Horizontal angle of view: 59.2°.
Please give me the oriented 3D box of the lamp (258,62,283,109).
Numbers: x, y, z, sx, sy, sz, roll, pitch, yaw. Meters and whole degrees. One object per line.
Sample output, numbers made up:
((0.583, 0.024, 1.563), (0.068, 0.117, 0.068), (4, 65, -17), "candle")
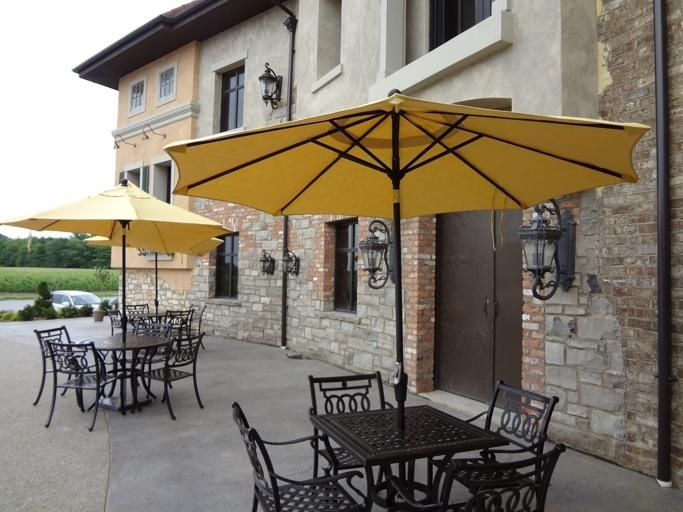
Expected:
((-1.556, -3.696, 12.918), (0.468, 0.938, 0.327), (12, 14, 40), "lamp")

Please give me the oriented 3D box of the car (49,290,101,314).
((-8.773, 1.447, 20.132), (2.031, 0.875, 1.010), (-4, -3, 25), "car")

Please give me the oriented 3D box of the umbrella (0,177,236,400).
((-3.004, 0.351, 8.599), (2.204, 2.587, 2.477), (-2, -3, -5), "umbrella")

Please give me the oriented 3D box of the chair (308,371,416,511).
((0.331, 1.955, 6.701), (1.150, 1.924, 1.250), (2, -15, -17), "chair")

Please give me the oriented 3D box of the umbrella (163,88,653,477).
((0.583, 0.089, 5.802), (3.296, 2.626, 3.590), (-3, -7, 5), "umbrella")

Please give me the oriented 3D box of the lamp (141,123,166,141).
((-5.149, -3.338, 16.266), (0.215, 0.457, 1.083), (-2, 2, -44), "lamp")
